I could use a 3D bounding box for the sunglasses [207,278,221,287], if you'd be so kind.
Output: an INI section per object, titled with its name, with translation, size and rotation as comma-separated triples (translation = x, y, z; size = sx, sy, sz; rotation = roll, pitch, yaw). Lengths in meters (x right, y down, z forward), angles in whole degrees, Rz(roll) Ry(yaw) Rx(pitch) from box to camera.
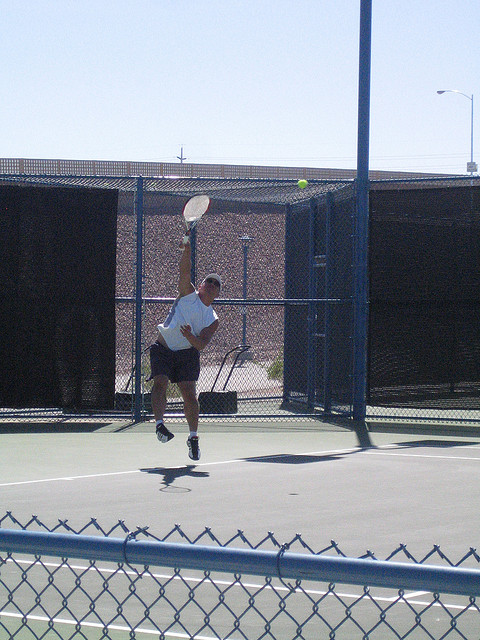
[sunglasses]
translation = -0.218, -0.309, 10.367
size = 0.070, 0.019, 0.069
rotation = 7, 29, -46

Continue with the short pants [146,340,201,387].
[short pants]
translation = -0.551, 0.373, 10.328
size = 0.444, 0.491, 0.269
rotation = 5, -21, -15

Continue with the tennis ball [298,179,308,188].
[tennis ball]
translation = 0.622, -1.370, 12.519
size = 0.073, 0.085, 0.091
rotation = -18, -7, 0

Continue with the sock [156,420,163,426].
[sock]
translation = -0.651, 0.828, 10.119
size = 0.033, 0.038, 0.037
rotation = 0, -13, 2

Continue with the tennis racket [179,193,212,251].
[tennis racket]
translation = -0.418, -0.826, 10.789
size = 0.245, 0.117, 0.794
rotation = -11, -21, -18

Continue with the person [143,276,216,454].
[person]
translation = -0.460, 0.340, 10.215
size = 0.554, 1.374, 0.545
rotation = -1, 1, -2
